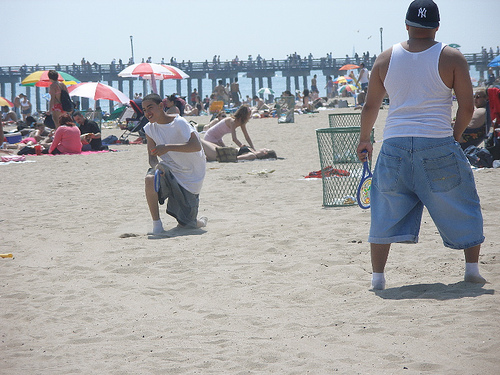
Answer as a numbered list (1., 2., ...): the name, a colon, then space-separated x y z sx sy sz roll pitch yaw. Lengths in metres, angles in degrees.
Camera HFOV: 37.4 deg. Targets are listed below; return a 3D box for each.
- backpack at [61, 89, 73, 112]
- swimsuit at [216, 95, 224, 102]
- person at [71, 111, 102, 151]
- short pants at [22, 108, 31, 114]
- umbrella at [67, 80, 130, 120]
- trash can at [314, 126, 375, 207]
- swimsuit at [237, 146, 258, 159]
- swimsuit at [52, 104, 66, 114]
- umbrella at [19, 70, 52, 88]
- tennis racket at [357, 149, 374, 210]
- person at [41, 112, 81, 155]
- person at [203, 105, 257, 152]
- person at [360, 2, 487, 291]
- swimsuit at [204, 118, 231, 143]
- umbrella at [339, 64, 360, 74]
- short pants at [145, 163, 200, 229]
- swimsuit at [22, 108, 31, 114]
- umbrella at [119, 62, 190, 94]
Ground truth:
1. backpack: -4.065 -1.891 16.262 0.246 0.505 0.308 -8 13 -15
2. swimsuit: -1.520 -4.521 37.274 0.255 0.270 0.925 -6 13 -7
3. person: -3.737 -1.259 16.726 0.742 0.983 0.655 -11 13 -6
4. short pants: -8.735 -2.954 28.681 0.243 0.180 0.248 -1 5 -14
5. umbrella: -4.226 -2.574 20.065 1.302 0.854 1.302 9 0 29
6. trash can: 1.132 -0.264 9.302 0.981 1.281 0.967 -1 2 9
7. swimsuit: -0.065 -0.654 13.647 0.252 0.142 0.206 28 25 26
8. swimsuit: -4.244 -1.734 16.257 0.193 0.131 0.199 7 5 29
9. umbrella: -6.312 -3.117 21.696 0.716 0.585 3.725 -8 14 -17
10. tennis racket: 1.048 -0.125 6.554 0.036 0.653 0.261 7 -11 -32
11. person: -4.068 -1.126 15.896 0.908 0.901 0.738 5 7 28
12. person: -0.391 -0.985 13.404 1.251 0.941 0.524 8 10 29
13. person: 1.334 -0.287 5.710 0.949 2.216 0.448 -2 13 8
14. swimsuit: -0.624 -1.089 14.352 0.292 0.515 0.848 -13 -1 -24
15. umbrella: 4.988 -6.036 37.320 0.716 0.446 0.702 -3 -2 6
16. short pants: -0.777 0.103 7.926 0.427 0.744 0.172 -5 13 -5
17. swimsuit: -8.738 -2.935 28.713 0.327 0.243 0.333 -1 5 -10
18. umbrella: -2.631 -2.961 20.718 1.442 0.841 1.492 -7 0 11
